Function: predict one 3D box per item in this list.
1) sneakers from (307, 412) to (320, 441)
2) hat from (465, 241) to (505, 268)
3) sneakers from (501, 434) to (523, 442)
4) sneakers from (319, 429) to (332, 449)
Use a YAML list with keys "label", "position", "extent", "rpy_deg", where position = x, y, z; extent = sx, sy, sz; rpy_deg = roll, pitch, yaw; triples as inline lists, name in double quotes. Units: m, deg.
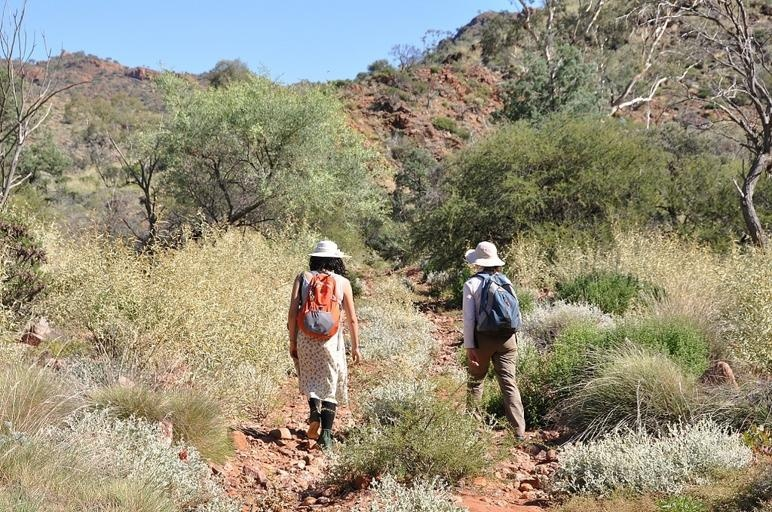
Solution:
- label: "sneakers"
  position: [-1.180, 2.753, 12.256]
  extent: [0.175, 0.431, 0.169]
  rpy_deg: [4, 19, -4]
- label: "hat"
  position: [1.682, -0.027, 12.887]
  extent: [0.433, 0.242, 0.511]
  rpy_deg: [5, 14, 7]
- label: "sneakers"
  position: [2.070, 2.927, 12.307]
  extent: [0.295, 0.125, 0.220]
  rpy_deg: [-1, 4, -25]
- label: "sneakers"
  position: [-0.938, 2.977, 12.261]
  extent: [0.242, 0.274, 0.206]
  rpy_deg: [3, -3, -31]
